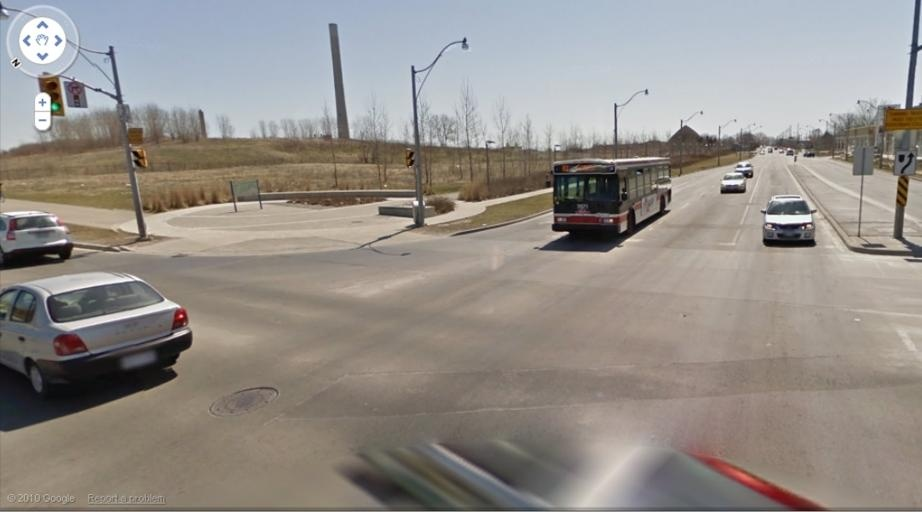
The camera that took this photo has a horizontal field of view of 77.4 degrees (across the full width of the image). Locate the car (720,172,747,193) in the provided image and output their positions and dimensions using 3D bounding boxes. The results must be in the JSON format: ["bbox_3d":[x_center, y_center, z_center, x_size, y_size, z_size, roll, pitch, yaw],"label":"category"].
[{"bbox_3d":[21.396,-5.698,45.612,1.715,1.330,2.766,2,14,21],"label":"car"}]

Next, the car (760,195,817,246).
[{"bbox_3d":[14.085,-1.450,24.988,1.870,1.643,2.226,3,14,25],"label":"car"}]
